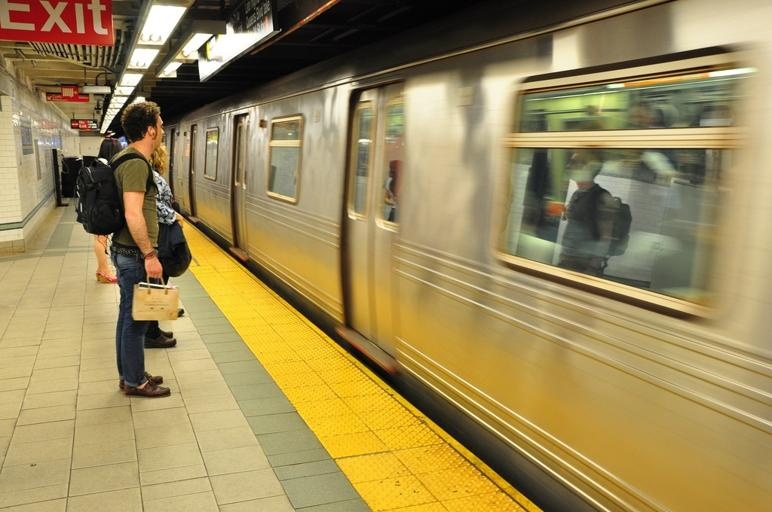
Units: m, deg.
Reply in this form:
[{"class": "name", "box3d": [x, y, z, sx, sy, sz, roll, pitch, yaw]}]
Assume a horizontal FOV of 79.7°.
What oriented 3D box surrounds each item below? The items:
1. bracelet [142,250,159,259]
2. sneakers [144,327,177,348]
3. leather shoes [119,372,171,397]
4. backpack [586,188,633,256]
[{"class": "bracelet", "box3d": [-2.001, -0.016, 3.936, 0.107, 0.043, 0.081, -17, 17, -31]}, {"class": "sneakers", "box3d": [-2.591, 0.954, 5.314, 0.285, 0.083, 0.266, -5, 11, -18]}, {"class": "leather shoes", "box3d": [-2.211, 1.134, 4.253, 0.308, 0.095, 0.336, -2, 6, -30]}, {"class": "backpack", "box3d": [1.308, -0.198, 2.687, 0.061, 0.384, 0.260, -4, 16, -23]}]
